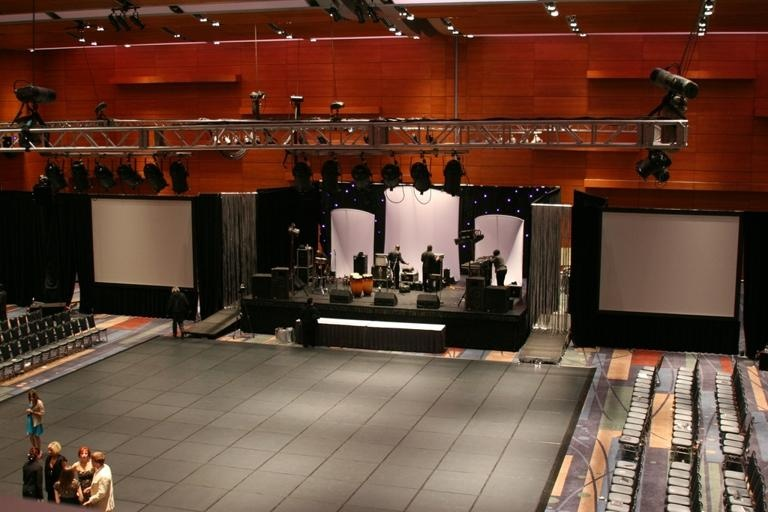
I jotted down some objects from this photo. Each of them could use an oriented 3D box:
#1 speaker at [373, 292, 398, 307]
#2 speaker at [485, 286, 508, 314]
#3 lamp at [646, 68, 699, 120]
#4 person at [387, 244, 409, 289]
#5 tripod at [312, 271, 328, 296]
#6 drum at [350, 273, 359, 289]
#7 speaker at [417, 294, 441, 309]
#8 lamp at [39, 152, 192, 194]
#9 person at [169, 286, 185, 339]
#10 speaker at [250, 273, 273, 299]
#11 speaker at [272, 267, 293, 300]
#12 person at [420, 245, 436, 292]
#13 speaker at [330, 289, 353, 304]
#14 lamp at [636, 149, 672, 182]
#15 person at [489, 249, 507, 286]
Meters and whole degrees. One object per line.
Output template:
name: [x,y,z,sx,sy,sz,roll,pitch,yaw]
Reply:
speaker: [0.086,1.165,17.421,0.593,0.305,0.415,0,1,16]
speaker: [3.114,1.198,16.550,0.701,0.647,0.680,0,6,1]
lamp: [5.992,-3.386,12.528,0.802,1.042,2.007,5,14,22]
person: [0.418,0.355,19.569,0.601,1.277,0.872,4,14,16]
tripod: [-2.031,0.856,18.869,0.658,0.654,0.643,3,9,11]
drum: [-0.868,0.816,18.305,0.376,0.557,0.368,2,-1,0]
speaker: [1.277,1.259,17.150,0.572,0.354,0.395,2,17,14]
lamp: [-7.723,-2.232,17.517,3.698,1.298,0.702,-3,1,-21]
person: [-5.931,1.621,17.251,0.402,1.495,0.332,6,15,24]
speaker: [-3.740,0.932,18.078,0.703,0.657,0.687,0,4,1]
speaker: [-3.060,0.810,17.950,0.596,0.919,0.408,-3,14,-11]
person: [1.414,0.392,18.795,0.357,1.368,0.489,-3,14,-11]
speaker: [-1.268,1.199,17.589,0.600,0.314,0.407,4,13,13]
lamp: [6.107,-2.015,13.583,0.647,0.800,1.221,8,15,32]
person: [3.542,0.396,18.541,0.475,1.198,1.199,2,13,10]
